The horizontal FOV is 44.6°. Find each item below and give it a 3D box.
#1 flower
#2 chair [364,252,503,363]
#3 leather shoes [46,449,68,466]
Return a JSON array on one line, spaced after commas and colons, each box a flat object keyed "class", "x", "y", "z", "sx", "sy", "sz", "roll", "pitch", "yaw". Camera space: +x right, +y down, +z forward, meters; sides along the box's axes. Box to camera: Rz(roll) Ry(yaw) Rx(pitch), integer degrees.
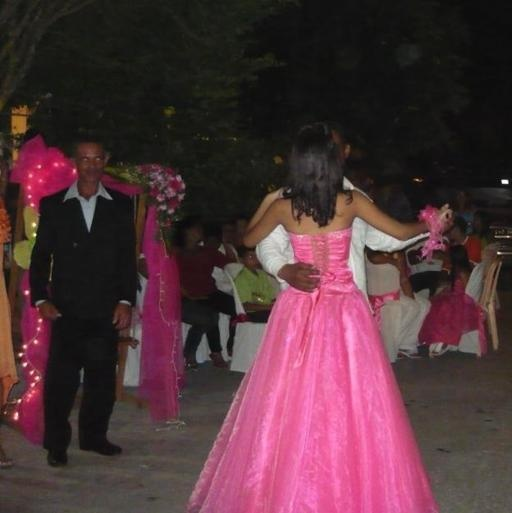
[{"class": "flower", "x": -0.810, "y": -0.515, "z": 4.654, "sx": 0.470, "sy": 0.490, "sz": 0.233, "roll": 6, "pitch": 3, "yaw": -3}, {"class": "chair", "x": 2.106, "y": 0.554, "z": 7.327, "sx": 1.452, "sy": 1.406, "sz": 1.228, "roll": -5, "pitch": 5, "yaw": 3}, {"class": "leather shoes", "x": -1.105, "y": 1.133, "z": 3.519, "sx": 0.113, "sy": 0.114, "sz": 0.067, "roll": 1, "pitch": -1, "yaw": 7}]
